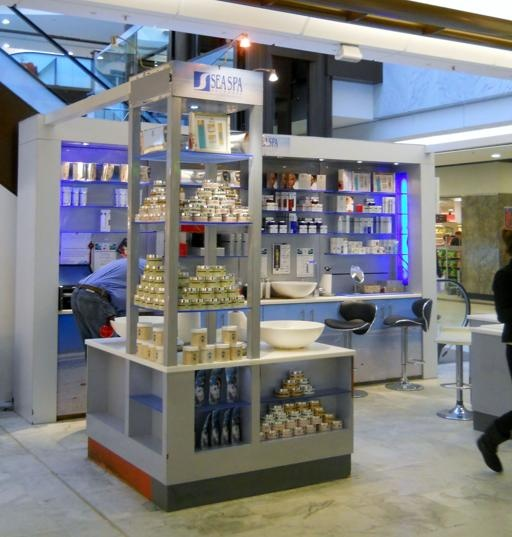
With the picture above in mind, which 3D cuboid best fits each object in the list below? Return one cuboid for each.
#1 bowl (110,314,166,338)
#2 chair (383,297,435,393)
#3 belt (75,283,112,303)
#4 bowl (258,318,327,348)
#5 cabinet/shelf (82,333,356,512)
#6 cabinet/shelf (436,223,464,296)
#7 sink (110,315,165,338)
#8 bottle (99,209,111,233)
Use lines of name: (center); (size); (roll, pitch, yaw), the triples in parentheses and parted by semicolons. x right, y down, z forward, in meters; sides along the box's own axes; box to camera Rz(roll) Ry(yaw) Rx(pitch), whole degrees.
bowl: (-0.927, 0.430, 4.103); (0.393, 0.116, 0.357); (0, 1, -14)
chair: (1.924, 0.940, 6.627); (0.592, 1.129, 0.888); (-1, -3, 14)
belt: (-1.487, 0.223, 4.780); (0.302, 0.150, 0.114); (0, -3, -9)
bowl: (0.199, 0.441, 3.564); (0.278, 0.084, 0.279); (0, -1, 0)
cabinet/shelf: (-0.437, 0.966, 3.614); (1.254, 0.679, 1.176); (1, 1, -29)
cabinet/shelf: (5.371, -0.434, 14.539); (0.644, 1.641, 0.450); (-1, -4, 15)
sink: (-0.938, 0.430, 4.123); (0.393, 0.123, 0.357); (1, 0, -5)
bottle: (-1.664, -0.529, 5.745); (0.119, 0.249, 0.065); (1, -4, -20)
